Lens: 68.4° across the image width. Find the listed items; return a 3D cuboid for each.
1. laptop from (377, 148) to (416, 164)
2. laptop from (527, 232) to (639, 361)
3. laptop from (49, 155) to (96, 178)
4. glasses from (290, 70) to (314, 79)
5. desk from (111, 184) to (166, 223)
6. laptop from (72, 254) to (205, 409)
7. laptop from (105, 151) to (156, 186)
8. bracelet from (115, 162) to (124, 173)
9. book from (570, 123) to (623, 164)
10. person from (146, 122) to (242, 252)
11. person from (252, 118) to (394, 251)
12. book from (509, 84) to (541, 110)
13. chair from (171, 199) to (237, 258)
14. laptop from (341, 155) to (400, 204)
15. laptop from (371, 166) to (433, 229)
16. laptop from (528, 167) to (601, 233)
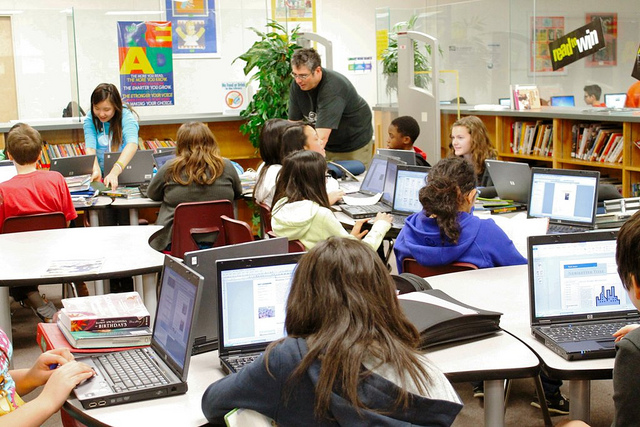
[{"bbox_3d":[0.739,-0.554,4.438,0.203,0.195,0.281,-14,21,-41],"label":"laptop"},{"bbox_3d":[1.090,0.306,2.143,0.580,0.470,0.460,-3,8,-11],"label":"laptop"},{"bbox_3d":[-2.426,-0.472,4.639,0.325,0.208,0.228,-4,27,-32],"label":"laptop"},{"bbox_3d":[-0.169,-1.516,5.169,0.171,0.053,0.176,10,12,41],"label":"glasses"},{"bbox_3d":[-1.758,-0.100,4.554,0.410,0.291,0.400,0,6,-7],"label":"desk"},{"bbox_3d":[-0.713,0.443,1.787,0.449,0.385,0.530,-1,2,-25],"label":"laptop"},{"bbox_3d":[-2.103,-0.534,5.000,0.406,0.379,0.551,25,26,38],"label":"laptop"},{"bbox_3d":[-2.060,-0.484,4.850,0.034,0.080,0.093,-44,35,-10],"label":"bracelet"},{"bbox_3d":[3.425,-0.875,5.776,0.218,0.456,0.710,-6,13,-16],"label":"book"},{"bbox_3d":[-1.098,-0.234,4.228,0.875,1.063,0.750,-1,13,-11],"label":"person"},{"bbox_3d":[0.096,-0.251,3.641,0.869,0.868,1.161,-2,13,1],"label":"person"},{"bbox_3d":[2.815,-1.599,6.445,0.446,0.333,0.303,-8,14,-23],"label":"book"},{"bbox_3d":[-0.984,0.033,4.046,0.466,0.790,0.483,-3,21,-18],"label":"chair"},{"bbox_3d":[0.401,-0.327,4.315,0.582,0.396,0.640,4,10,-5],"label":"laptop"},{"bbox_3d":[0.560,-0.126,3.752,0.505,0.440,0.606,-9,9,-18],"label":"laptop"},{"bbox_3d":[1.761,-0.129,3.437,0.530,0.443,0.428,7,20,27],"label":"laptop"}]
